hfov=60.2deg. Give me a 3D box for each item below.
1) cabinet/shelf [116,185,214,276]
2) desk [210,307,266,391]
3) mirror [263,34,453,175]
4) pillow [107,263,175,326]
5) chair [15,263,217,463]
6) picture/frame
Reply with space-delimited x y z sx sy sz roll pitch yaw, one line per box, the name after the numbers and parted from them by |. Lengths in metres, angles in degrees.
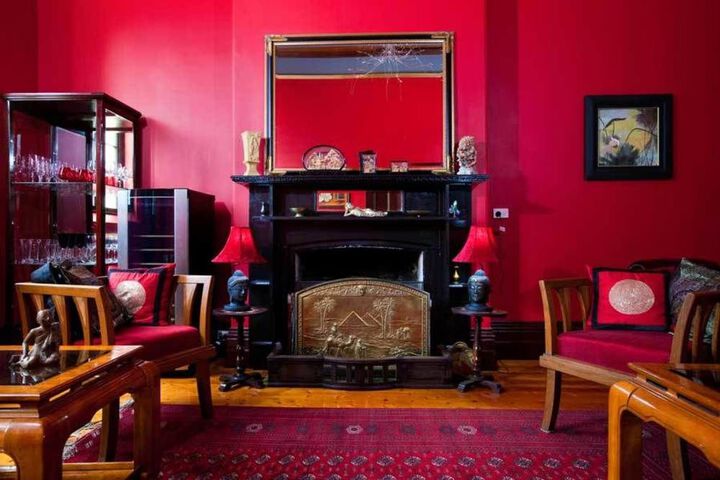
-2.187 -0.018 6.391 0.649 1.096 0.624 1 14 -20 | cabinet/shelf
-1.077 0.985 5.929 0.653 0.773 0.649 0 2 -18 | desk
0.047 -1.347 6.221 1.401 1.056 0.068 0 -1 0 | mirror
-1.923 0.478 5.340 0.595 0.526 0.289 2 3 1 | pillow
-1.937 0.921 5.024 0.983 1.262 1.301 3 2 19 | chair
2.720 -1.041 6.258 0.879 0.952 0.104 0 -2 0 | picture/frame
